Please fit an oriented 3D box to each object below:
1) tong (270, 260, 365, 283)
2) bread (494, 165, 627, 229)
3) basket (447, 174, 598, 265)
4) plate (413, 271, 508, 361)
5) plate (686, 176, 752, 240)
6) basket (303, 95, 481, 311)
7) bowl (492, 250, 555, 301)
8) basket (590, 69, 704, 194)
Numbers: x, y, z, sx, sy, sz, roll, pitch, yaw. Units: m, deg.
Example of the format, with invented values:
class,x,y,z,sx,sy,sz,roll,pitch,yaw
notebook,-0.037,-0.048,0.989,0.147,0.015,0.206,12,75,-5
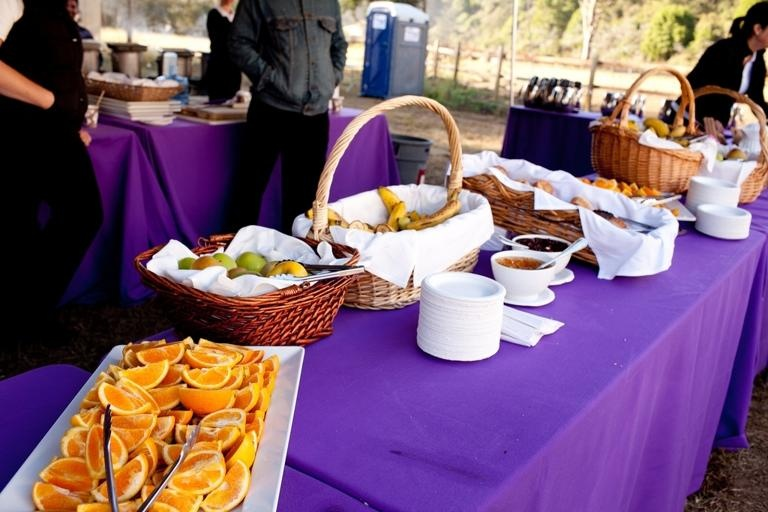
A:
class,x,y,z,sx,sy,sz,roll,pitch,yaw
tong,-0.152,0.041,1.660,0.190,0.030,0.085,-3,17,0
bread,0.662,-0.219,2.336,0.626,0.071,0.029,27,63,14
basket,0.513,-0.133,2.243,0.430,0.145,0.282,31,29,33
plate,0.198,0.156,1.706,0.226,0.169,0.228,-10,22,-31
plate,1.435,-0.229,2.638,0.192,0.140,0.353,4,23,19
basket,-0.024,-0.227,2.068,0.442,0.664,0.747,14,23,32
bowl,0.436,0.069,1.965,0.183,0.119,0.184,0,20,0
basket,1.227,-0.614,3.027,0.477,0.604,0.613,-4,17,-29
